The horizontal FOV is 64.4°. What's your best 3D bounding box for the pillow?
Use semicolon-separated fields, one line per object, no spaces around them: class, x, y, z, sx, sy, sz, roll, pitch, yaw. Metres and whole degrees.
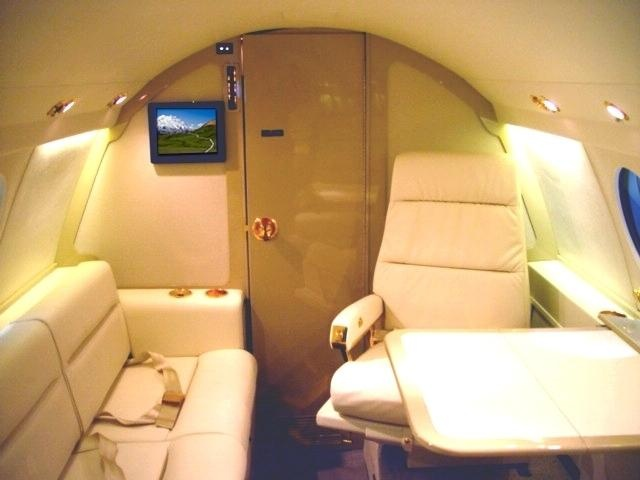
pillow;0.188;0.600;2.057;0.232;0.123;0.261;-1;44;6

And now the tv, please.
tv;-0.801;-0.659;3.020;0.353;0.293;0.036;0;10;-2
